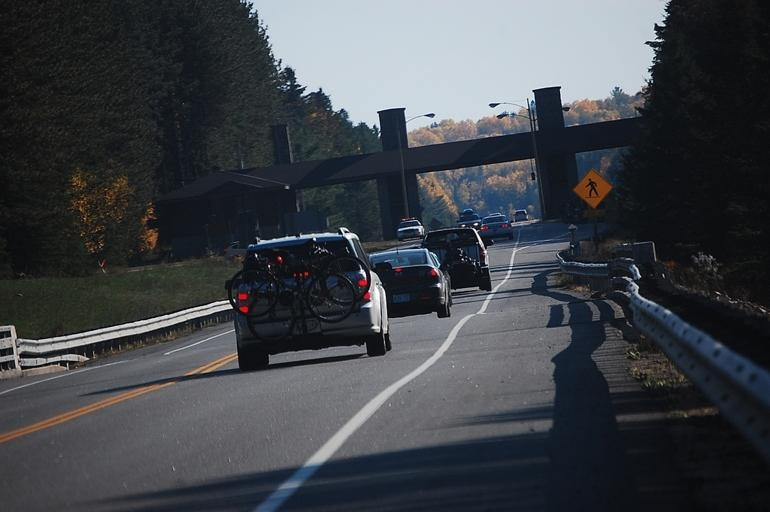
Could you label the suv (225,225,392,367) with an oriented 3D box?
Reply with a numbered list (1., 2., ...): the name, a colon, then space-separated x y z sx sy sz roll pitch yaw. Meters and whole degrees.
1. suv: -1.707 -0.068 19.438 2.890 2.840 5.226 -6 23 -1
